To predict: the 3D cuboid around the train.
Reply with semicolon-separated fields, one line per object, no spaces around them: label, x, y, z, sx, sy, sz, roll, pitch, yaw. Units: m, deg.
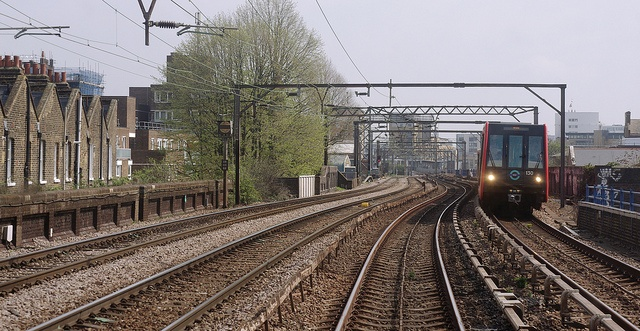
train;12.236;-0.227;35.388;3.983;5.114;0.983;-2;1;-3
